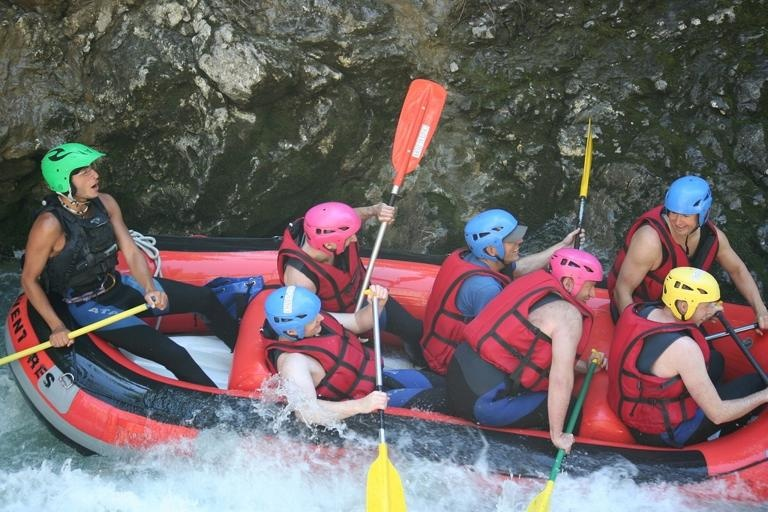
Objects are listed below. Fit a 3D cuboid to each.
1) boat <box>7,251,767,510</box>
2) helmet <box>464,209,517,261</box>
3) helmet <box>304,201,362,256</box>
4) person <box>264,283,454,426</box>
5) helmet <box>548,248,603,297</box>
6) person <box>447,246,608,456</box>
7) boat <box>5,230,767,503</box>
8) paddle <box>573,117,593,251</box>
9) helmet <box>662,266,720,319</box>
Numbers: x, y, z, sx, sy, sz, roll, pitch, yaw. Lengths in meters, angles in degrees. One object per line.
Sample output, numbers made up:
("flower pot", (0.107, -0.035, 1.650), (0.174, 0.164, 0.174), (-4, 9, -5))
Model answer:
("boat", (0.054, 1.163, 6.462), (5.432, 2.547, 0.933), (8, 49, 5))
("helmet", (0.876, -0.207, 6.500), (0.448, 0.341, 0.331), (-8, 23, 6))
("helmet", (-0.442, -0.253, 6.523), (0.451, 0.353, 0.351), (17, 49, 0))
("person", (-0.138, 0.883, 6.016), (1.315, 0.842, 0.991), (-3, 51, 7))
("helmet", (1.552, 0.105, 6.274), (0.435, 0.369, 0.327), (8, 24, 10))
("person", (1.092, 0.795, 5.983), (1.005, 1.380, 0.877), (-3, 37, -20))
("boat", (-0.077, 1.143, 6.144), (5.622, 0.944, 2.586), (8, 43, -1))
("paddle", (2.054, -0.803, 7.926), (0.151, 1.448, 0.056), (7, -3, 16))
("helmet", (2.346, 0.265, 5.881), (0.422, 0.343, 0.324), (14, 24, 32))
